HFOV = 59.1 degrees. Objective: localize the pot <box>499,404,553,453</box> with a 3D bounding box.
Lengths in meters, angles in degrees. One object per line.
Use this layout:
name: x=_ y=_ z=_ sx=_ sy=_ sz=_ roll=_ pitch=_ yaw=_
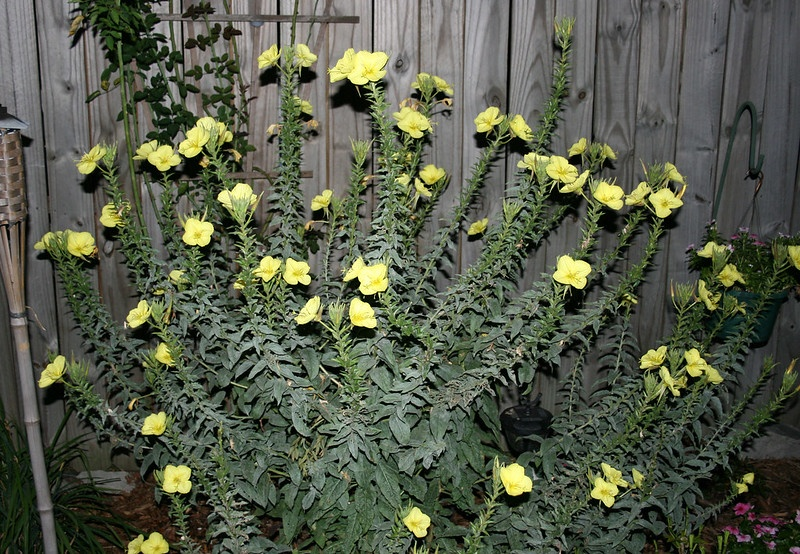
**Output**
pot: x=0.609 y=0.734 z=3.511 sx=0.242 sy=0.224 sz=0.251 roll=3 pitch=17 yaw=-1
